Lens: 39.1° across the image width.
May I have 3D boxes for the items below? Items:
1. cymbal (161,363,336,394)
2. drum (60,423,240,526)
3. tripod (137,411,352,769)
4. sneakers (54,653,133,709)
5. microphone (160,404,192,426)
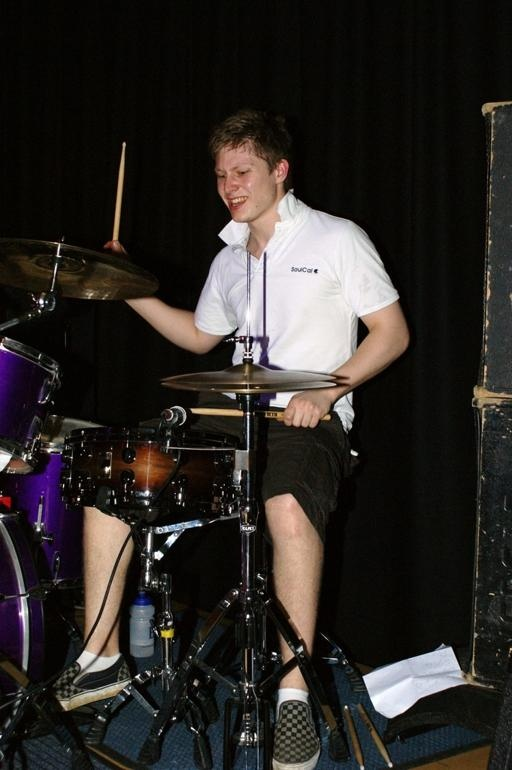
[{"bbox_3d":[-0.033,-0.016,1.329,0.326,0.054,0.174,2,0,28],"label":"cymbal"},{"bbox_3d":[-0.230,0.200,1.529,0.216,0.190,0.409,2,0,-43],"label":"drum"},{"bbox_3d":[0.052,0.333,1.557,0.223,0.833,0.243,-1,-3,25],"label":"tripod"},{"bbox_3d":[-0.370,0.687,1.690,0.080,0.094,0.222,-4,-2,39],"label":"sneakers"},{"bbox_3d":[-0.162,0.066,1.427,0.049,0.041,0.092,2,0,-9],"label":"microphone"}]
